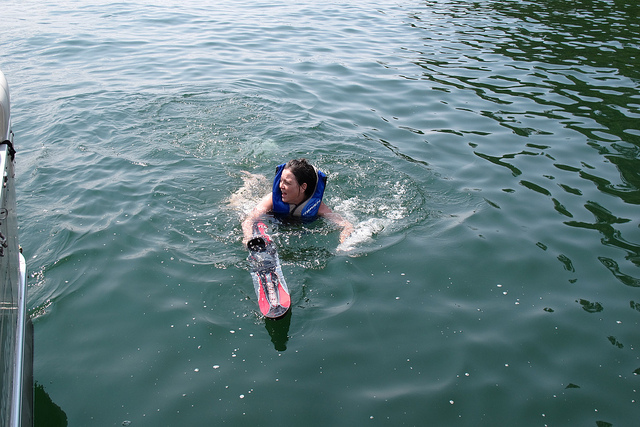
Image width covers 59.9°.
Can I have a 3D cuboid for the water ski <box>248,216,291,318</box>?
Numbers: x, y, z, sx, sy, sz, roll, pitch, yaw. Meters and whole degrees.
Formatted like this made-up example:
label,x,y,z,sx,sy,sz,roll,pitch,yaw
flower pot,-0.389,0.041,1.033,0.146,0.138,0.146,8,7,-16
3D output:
label,x,y,z,sx,sy,sz,roll,pitch,yaw
water ski,-0.835,0.843,8.746,0.455,0.390,1.639,-14,52,-9
